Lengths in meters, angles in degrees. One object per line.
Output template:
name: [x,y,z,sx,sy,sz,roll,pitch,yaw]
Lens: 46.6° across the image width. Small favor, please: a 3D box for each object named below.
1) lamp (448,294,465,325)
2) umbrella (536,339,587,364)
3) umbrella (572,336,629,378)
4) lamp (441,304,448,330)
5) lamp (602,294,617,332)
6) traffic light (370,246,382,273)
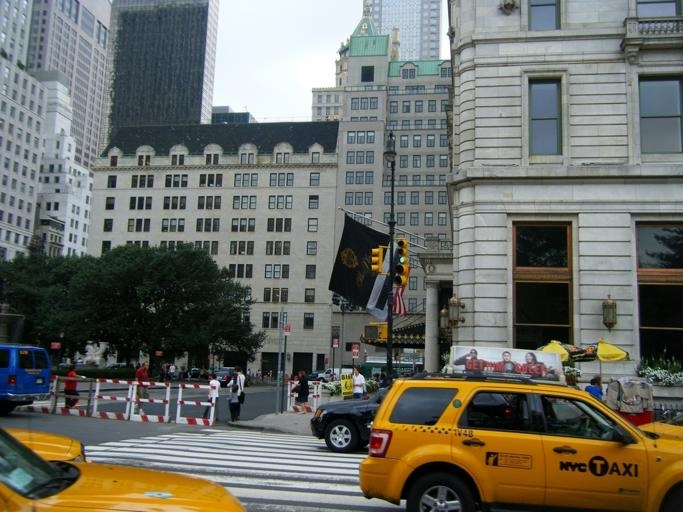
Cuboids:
lamp: [3.885,1.838,27.156,0.530,1.012,0.917,-3,-11,27]
umbrella: [6.857,2.876,24.343,1.116,0.626,2.661,-2,-10,25]
umbrella: [8.193,3.101,25.203,1.689,1.099,1.454,0,-12,2]
lamp: [3.622,2.130,27.835,0.224,0.742,0.920,1,-10,9]
lamp: [8.865,1.826,26.106,0.487,1.192,0.478,-1,-11,17]
traffic light: [1.183,0.111,26.012,0.225,0.861,0.810,0,-10,14]
